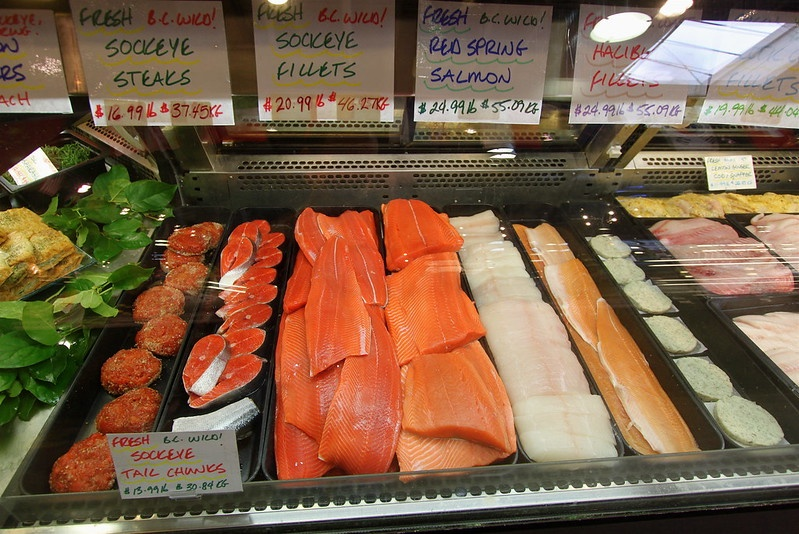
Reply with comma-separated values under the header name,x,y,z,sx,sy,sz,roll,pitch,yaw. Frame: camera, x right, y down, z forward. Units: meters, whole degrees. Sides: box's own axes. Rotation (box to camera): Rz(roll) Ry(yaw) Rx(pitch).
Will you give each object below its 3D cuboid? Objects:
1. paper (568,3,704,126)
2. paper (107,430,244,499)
name,x,y,z,sx,sy,sz,roll,pitch,yaw
paper,1.012,-0.897,2.032,0.596,0.408,0.026,-1,30,-5
paper,-0.831,0.736,1.756,0.420,0.232,0.032,0,30,-4
